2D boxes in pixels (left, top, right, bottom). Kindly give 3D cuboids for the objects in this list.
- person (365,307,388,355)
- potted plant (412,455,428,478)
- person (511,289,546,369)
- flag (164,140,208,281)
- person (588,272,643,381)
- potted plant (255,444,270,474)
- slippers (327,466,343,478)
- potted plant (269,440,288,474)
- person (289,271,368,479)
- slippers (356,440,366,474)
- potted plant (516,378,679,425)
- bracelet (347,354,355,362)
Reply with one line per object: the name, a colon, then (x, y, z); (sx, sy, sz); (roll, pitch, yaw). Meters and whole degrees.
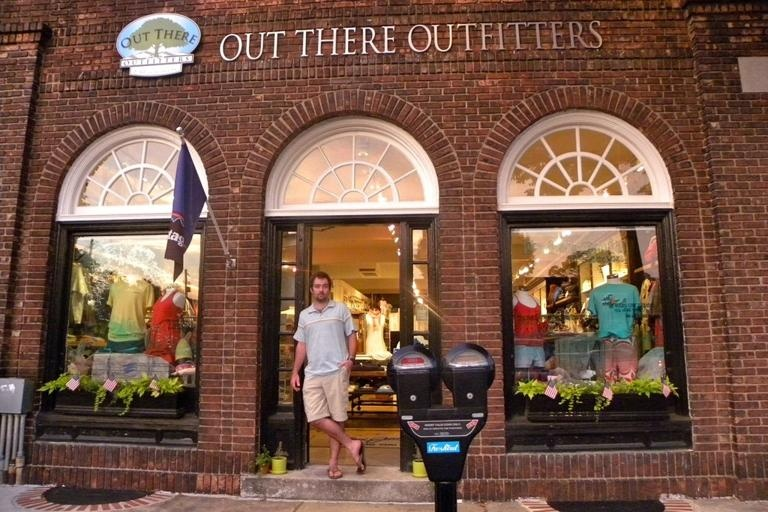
person: (-0.148, 1.362, 12.560); (0.406, 0.817, 0.292); (1, -14, -4)
potted plant: (0.440, 2.655, 8.625); (0.150, 0.244, 0.209); (2, -14, -9)
person: (1.913, 0.953, 9.021); (0.403, 1.035, 0.196); (-1, -14, 1)
flag: (-2.501, -0.632, 8.653); (0.372, 1.755, 0.412); (-4, -15, 14)
person: (3.087, 0.936, 9.093); (0.656, 1.368, 0.242); (-4, -15, 14)
potted plant: (-1.534, 2.606, 8.769); (0.196, 0.338, 0.147); (4, -15, -18)
slippers: (-0.610, 2.726, 8.642); (0.207, 0.159, 0.251); (1, -13, -5)
potted plant: (-1.343, 2.585, 8.782); (0.217, 0.400, 0.169); (2, -14, -8)
person: (-0.692, 1.501, 8.694); (0.937, 2.558, 0.661); (2, -14, -8)
slippers: (-0.305, 2.564, 8.649); (0.097, 0.383, 0.147); (-3, 15, 8)
potted plant: (2.552, 1.861, 8.865); (1.592, 0.320, 0.321); (-1, -2, 3)
bracelet: (-0.412, 1.302, 8.718); (0.088, 0.087, 0.095); (4, -6, 0)
